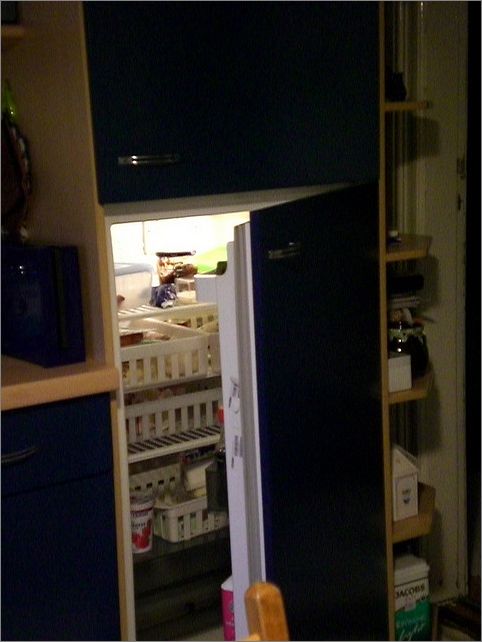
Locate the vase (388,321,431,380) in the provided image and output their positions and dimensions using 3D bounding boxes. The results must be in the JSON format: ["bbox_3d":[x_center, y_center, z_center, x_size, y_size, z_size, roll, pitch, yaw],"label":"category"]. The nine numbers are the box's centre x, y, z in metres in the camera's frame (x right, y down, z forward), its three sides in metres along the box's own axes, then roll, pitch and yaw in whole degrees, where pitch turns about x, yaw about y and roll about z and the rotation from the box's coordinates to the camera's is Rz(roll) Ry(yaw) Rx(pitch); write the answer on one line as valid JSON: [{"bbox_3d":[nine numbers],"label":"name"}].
[{"bbox_3d":[0.482,0.084,1.605,0.092,0.157,0.119,-13,3,20],"label":"vase"}]

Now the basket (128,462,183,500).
[{"bbox_3d":[-0.267,0.498,1.794,0.031,0.116,0.135,5,8,41],"label":"basket"}]
